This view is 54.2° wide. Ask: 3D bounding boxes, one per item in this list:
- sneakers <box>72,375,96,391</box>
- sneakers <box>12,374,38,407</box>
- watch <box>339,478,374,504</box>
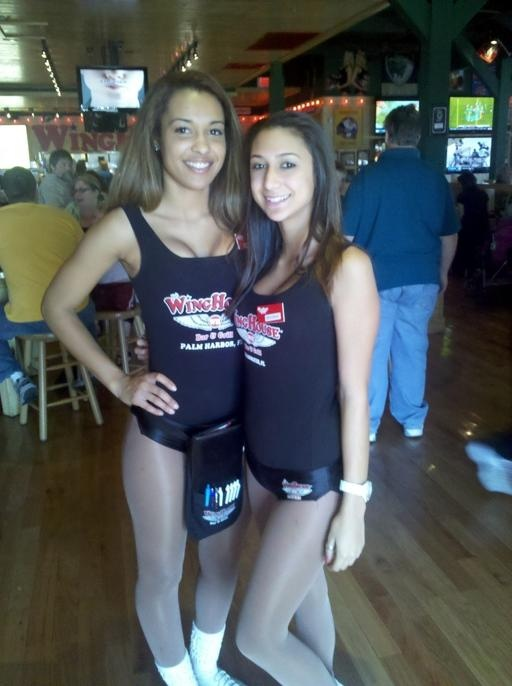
[{"bbox_3d":[-1.306,0.295,3.764,0.160,0.083,0.224,9,2,-17],"label":"sneakers"},{"bbox_3d":[-1.513,0.297,3.237,0.114,0.140,0.285,-37,12,-12],"label":"sneakers"},{"bbox_3d":[0.177,0.274,0.908,0.044,0.031,0.040,4,1,44],"label":"watch"}]
